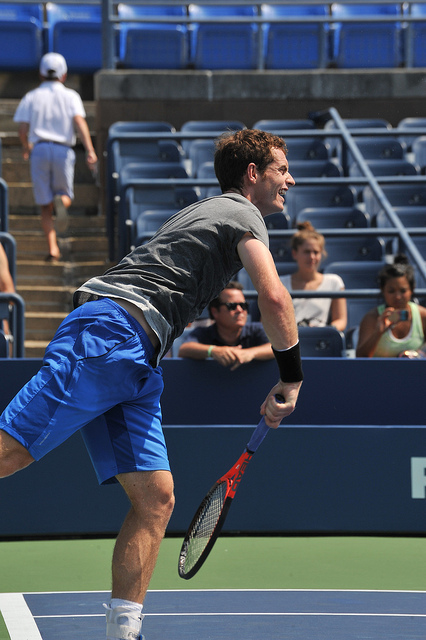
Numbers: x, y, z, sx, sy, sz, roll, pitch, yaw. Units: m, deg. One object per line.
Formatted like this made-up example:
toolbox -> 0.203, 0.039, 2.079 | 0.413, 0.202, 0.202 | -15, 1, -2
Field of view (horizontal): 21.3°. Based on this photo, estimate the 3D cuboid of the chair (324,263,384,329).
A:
chair -> 0.980, -0.186, 7.587 | 0.440, 0.538, 0.424 | 0, -12, -1

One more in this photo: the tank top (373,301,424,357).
tank top -> 1.045, 0.070, 6.424 | 0.356, 0.284, 0.137 | -8, 15, -32

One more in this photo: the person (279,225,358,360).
person -> 0.587, -0.203, 7.156 | 0.606, 0.832, 0.518 | 0, -1, -29

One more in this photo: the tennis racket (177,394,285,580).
tennis racket -> 0.092, 0.827, 5.352 | 0.090, 1.060, 0.326 | 8, 36, -36

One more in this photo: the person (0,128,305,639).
person -> -0.265, 0.344, 4.250 | 1.059, 1.559, 0.670 | -11, 17, -41
